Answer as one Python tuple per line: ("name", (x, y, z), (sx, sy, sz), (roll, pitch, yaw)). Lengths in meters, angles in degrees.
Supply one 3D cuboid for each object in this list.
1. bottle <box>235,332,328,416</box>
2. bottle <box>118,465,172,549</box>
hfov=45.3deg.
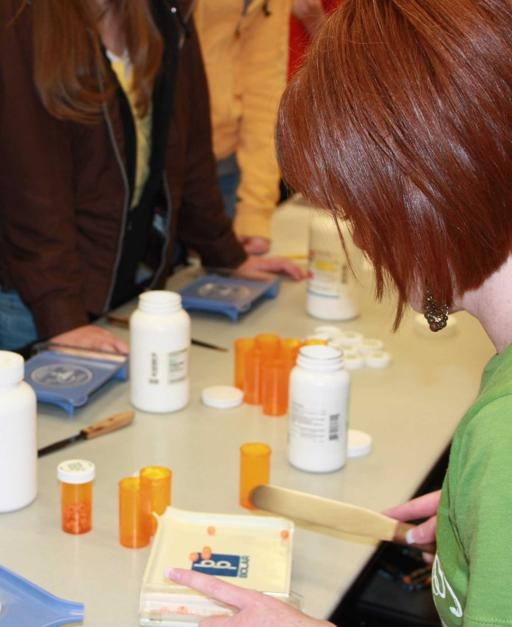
("bottle", (0.042, 0.101, 1.158), (0.147, 0.092, 0.149), (2, 14, 0))
("bottle", (-0.138, 0.235, 0.753), (0.048, 0.093, 0.095), (4, 11, 9))
